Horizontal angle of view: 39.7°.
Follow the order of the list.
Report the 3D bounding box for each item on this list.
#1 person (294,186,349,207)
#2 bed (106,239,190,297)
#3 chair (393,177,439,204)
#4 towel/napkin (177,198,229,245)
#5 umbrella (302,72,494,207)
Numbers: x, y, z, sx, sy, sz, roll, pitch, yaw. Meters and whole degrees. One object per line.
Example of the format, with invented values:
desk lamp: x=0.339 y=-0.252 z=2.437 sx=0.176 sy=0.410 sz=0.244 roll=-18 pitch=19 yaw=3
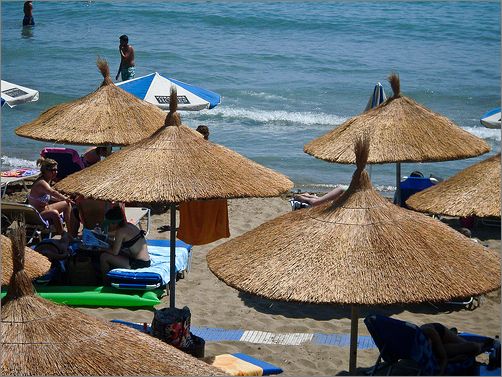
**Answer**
person: x=1.043 y=0.117 z=10.297 sx=0.331 sy=0.292 sz=0.903 roll=1 pitch=8 yaw=-34
bed: x=-1.312 y=1.110 z=9.591 sx=0.634 sy=0.210 sz=0.932 roll=2 pitch=13 yaw=7
chair: x=2.691 y=0.016 z=11.291 sx=0.532 sy=0.495 sz=0.594 roll=2 pitch=19 yaw=14
towel/napkin: x=-0.521 y=0.362 z=7.794 sx=0.869 sy=0.671 sz=0.086 roll=0 pitch=14 yaw=-3
umbrella: x=1.961 y=-0.607 z=8.736 sx=1.888 sy=1.046 sz=1.496 roll=1 pitch=19 yaw=25
